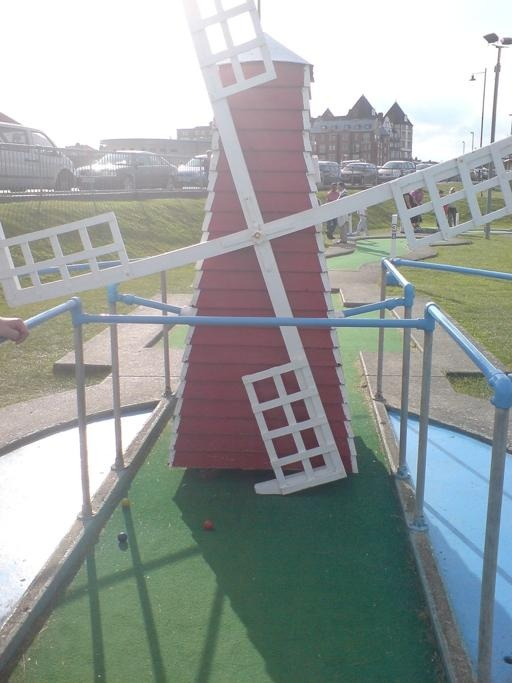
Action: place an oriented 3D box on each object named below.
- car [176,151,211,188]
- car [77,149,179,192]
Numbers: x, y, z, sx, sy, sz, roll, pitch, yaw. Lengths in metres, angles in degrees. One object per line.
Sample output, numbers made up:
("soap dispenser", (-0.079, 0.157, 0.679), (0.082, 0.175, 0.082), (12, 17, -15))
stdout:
("car", (-4.278, -11.507, 36.596), (2.025, 2.471, 4.873), (-2, 11, -8))
("car", (-7.069, -9.392, 29.931), (0.972, 2.430, 7.164), (7, 13, 30))
